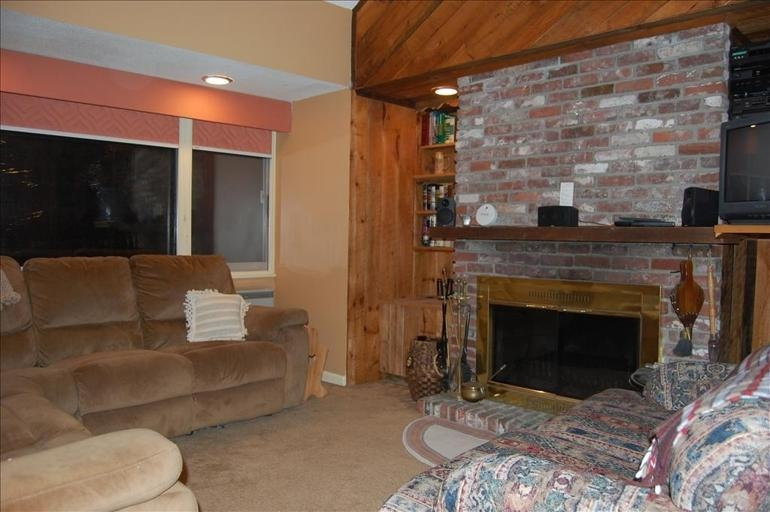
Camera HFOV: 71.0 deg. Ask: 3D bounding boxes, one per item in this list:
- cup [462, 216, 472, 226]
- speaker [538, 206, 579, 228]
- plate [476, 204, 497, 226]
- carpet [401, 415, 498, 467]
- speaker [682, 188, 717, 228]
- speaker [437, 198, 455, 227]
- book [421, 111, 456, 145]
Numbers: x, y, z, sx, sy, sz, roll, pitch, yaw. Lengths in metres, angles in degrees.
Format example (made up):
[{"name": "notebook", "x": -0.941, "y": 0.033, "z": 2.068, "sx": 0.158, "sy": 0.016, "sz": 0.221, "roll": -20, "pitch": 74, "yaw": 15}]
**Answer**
[{"name": "cup", "x": 0.656, "y": -0.282, "z": 4.332, "sx": 0.095, "sy": 0.081, "sz": 0.049, "roll": 3, "pitch": -10, "yaw": -34}, {"name": "speaker", "x": 1.192, "y": -0.270, "z": 3.753, "sx": 0.250, "sy": 0.139, "sz": 0.176, "roll": 3, "pitch": 7, "yaw": 37}, {"name": "plate", "x": 0.792, "y": -0.319, "z": 4.207, "sx": 0.088, "sy": 0.171, "sz": 0.154, "roll": -3, "pitch": 8, "yaw": -30}, {"name": "carpet", "x": 0.377, "y": 1.261, "z": 3.685, "sx": 0.410, "sy": 0.066, "sz": 0.528, "roll": 6, "pitch": 5, "yaw": 40}, {"name": "speaker", "x": 1.974, "y": -0.295, "z": 3.368, "sx": 0.298, "sy": 0.233, "sz": 0.096, "roll": 0, "pitch": 2, "yaw": -34}, {"name": "speaker", "x": 0.498, "y": -0.356, "z": 4.376, "sx": 0.144, "sy": 0.228, "sz": 0.113, "roll": 2, "pitch": 7, "yaw": 5}, {"name": "book", "x": 0.559, "y": -1.289, "z": 5.422, "sx": 0.188, "sy": 0.349, "sz": 0.382, "roll": -5, "pitch": 9, "yaw": -42}]
